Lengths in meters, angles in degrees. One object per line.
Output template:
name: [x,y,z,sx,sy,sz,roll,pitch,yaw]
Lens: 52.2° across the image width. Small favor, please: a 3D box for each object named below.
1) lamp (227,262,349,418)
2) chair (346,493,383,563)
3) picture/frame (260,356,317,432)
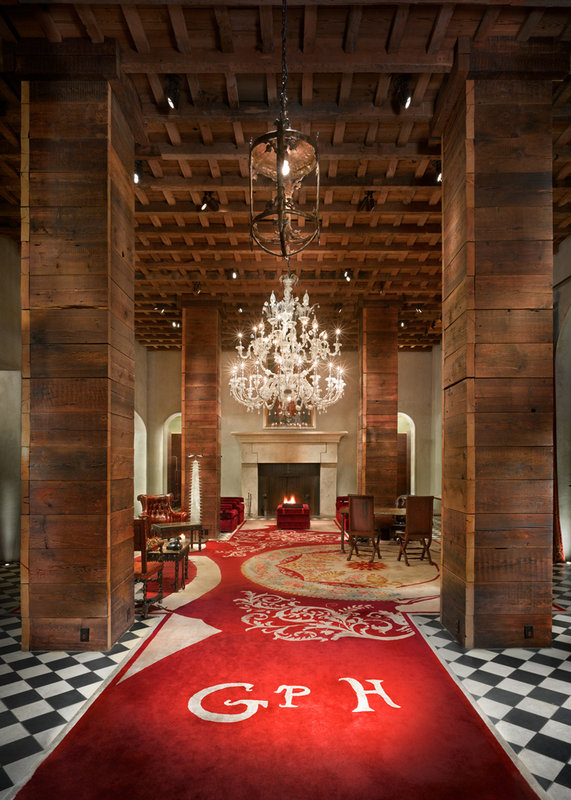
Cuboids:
lamp: [0.049,-1.072,10.001,1.950,2.531,1.895,2,-5,-4]
chair: [1.122,1.763,8.197,0.454,0.900,0.426,-3,-11,23]
picture/frame: [0.061,-0.121,11.199,2.002,1.382,0.076,1,-4,0]
